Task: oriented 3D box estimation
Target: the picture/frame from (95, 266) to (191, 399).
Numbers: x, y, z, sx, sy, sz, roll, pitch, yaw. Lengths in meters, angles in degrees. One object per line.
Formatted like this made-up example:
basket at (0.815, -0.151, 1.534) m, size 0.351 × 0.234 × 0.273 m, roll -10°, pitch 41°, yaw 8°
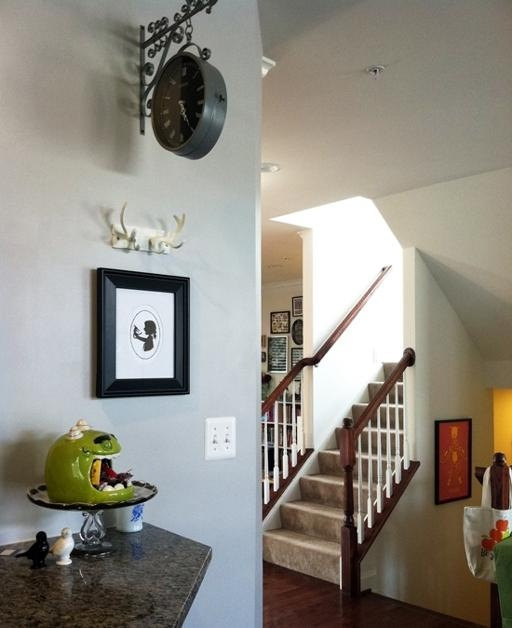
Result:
picture/frame at (-0.293, 0.049, 1.495) m, size 0.038 × 0.384 × 0.337 m, roll -6°, pitch -7°, yaw 45°

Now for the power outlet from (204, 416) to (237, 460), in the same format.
power outlet at (-0.104, 0.345, 1.654) m, size 0.016 × 0.140 × 0.131 m, roll -3°, pitch -4°, yaw 43°

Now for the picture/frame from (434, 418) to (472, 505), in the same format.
picture/frame at (1.460, 1.123, 4.511) m, size 0.044 × 0.927 × 0.696 m, roll -3°, pitch -4°, yaw 42°

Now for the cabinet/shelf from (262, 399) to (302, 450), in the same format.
cabinet/shelf at (0.209, 1.039, 5.657) m, size 0.147 × 0.415 × 0.440 m, roll -5°, pitch -12°, yaw 42°
